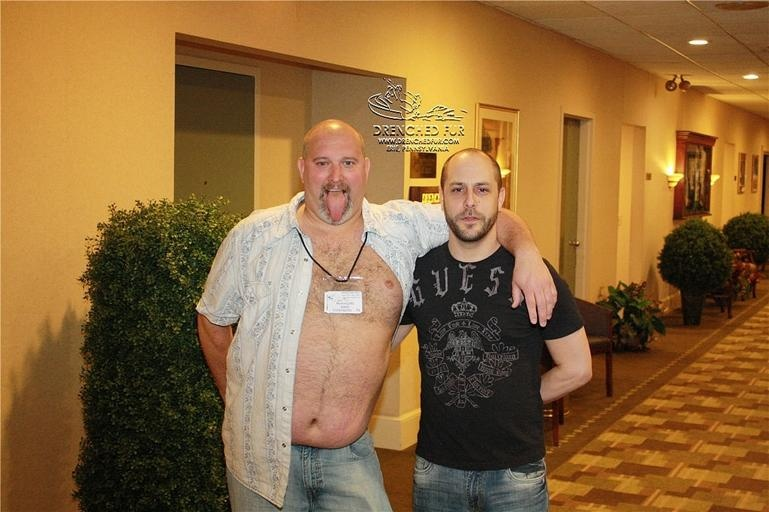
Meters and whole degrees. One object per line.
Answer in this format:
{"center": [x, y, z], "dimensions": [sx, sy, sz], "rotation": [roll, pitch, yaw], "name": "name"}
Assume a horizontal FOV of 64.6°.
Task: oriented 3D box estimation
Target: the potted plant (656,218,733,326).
{"center": [5.434, 0.280, 10.677], "dimensions": [1.133, 1.879, 0.508], "rotation": [3, 8, 19], "name": "potted plant"}

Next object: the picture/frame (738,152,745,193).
{"center": [9.862, -2.272, 16.795], "dimensions": [0.188, 1.090, 1.356], "rotation": [5, 8, 31], "name": "picture/frame"}

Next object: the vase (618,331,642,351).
{"center": [3.578, 1.255, 8.944], "dimensions": [0.312, 0.184, 0.315], "rotation": [0, -10, 4], "name": "vase"}

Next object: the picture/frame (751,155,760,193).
{"center": [11.121, -2.471, 18.253], "dimensions": [0.132, 1.099, 1.500], "rotation": [6, 9, 34], "name": "picture/frame"}

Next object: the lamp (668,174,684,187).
{"center": [5.661, -1.480, 11.863], "dimensions": [0.308, 0.233, 0.301], "rotation": [-1, 0, 6], "name": "lamp"}
